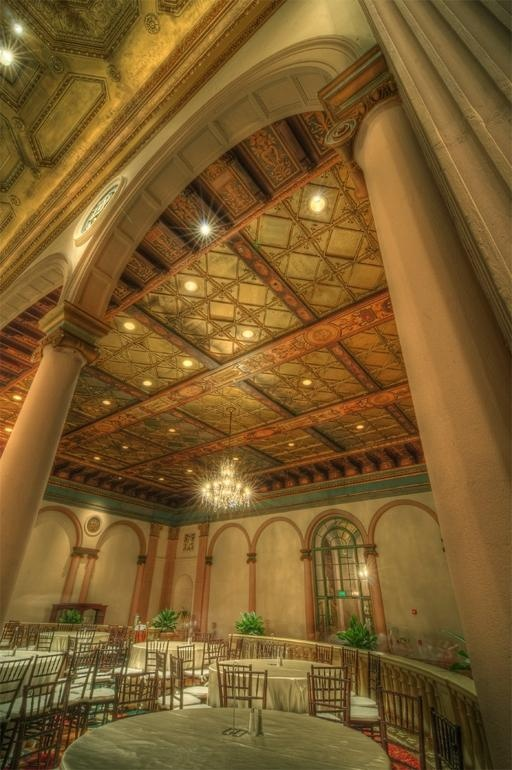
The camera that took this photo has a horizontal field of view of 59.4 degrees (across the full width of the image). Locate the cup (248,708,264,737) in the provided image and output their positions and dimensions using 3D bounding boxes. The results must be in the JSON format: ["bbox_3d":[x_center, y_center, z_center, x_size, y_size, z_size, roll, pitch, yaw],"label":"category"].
[{"bbox_3d":[0.025,1.499,2.004,0.069,0.106,0.107,0,-30,-1],"label":"cup"}]
